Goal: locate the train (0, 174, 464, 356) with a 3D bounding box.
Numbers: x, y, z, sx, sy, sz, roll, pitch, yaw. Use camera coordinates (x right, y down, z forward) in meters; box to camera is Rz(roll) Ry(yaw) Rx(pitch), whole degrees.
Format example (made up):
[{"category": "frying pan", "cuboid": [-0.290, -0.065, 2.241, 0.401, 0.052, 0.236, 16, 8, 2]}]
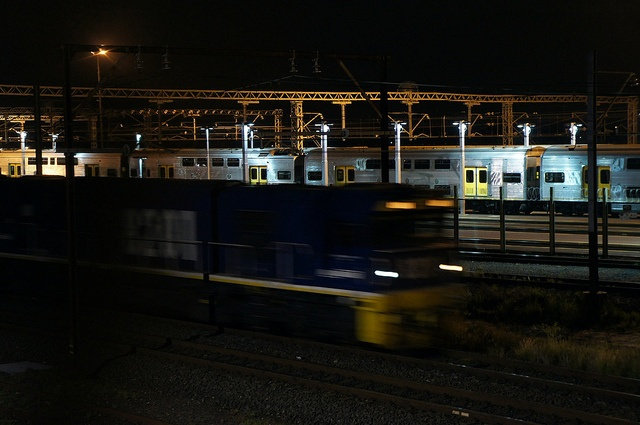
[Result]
[{"category": "train", "cuboid": [-4.503, 1.208, 22.240, 21.329, 4.801, 4.822, 3, 6, 33]}]
